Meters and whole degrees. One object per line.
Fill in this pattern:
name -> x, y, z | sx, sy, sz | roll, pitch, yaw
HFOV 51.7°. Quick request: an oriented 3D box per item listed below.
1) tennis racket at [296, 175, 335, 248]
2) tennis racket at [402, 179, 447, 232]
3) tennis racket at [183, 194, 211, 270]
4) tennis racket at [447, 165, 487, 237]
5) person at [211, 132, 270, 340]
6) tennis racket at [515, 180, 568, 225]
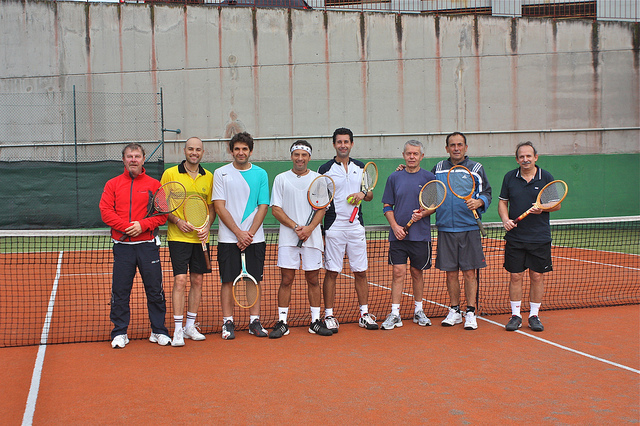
tennis racket -> 0.036, -0.088, 11.624 | 0.101, 0.398, 1.007 | -17, -53, 30
tennis racket -> 1.861, -0.098, 11.760 | 0.467, 1.230, 0.072 | 34, -14, 6
tennis racket -> -2.009, 0.346, 11.113 | 0.415, 1.516, 0.071 | -10, -30, -17
tennis racket -> 2.664, -0.263, 11.819 | 0.531, 1.458, 0.078 | -28, -16, 20
person -> -1.367, 0.405, 11.442 | 0.974, 3.539, 0.471 | -2, 3, -11
tennis racket -> 3.949, -0.177, 11.711 | 0.967, 0.738, 0.346 | -2, 3, -12
